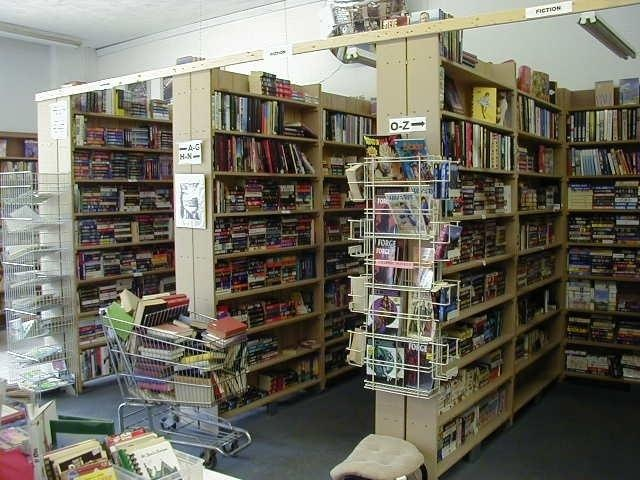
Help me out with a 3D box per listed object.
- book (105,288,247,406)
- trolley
[{"bbox_3d":[-1.041,0.808,4.009,1.032,0.796,0.737,-1,1,20],"label":"book"},{"bbox_3d":[-1.088,1.014,3.956,1.120,1.144,0.716,6,9,27],"label":"trolley"}]
